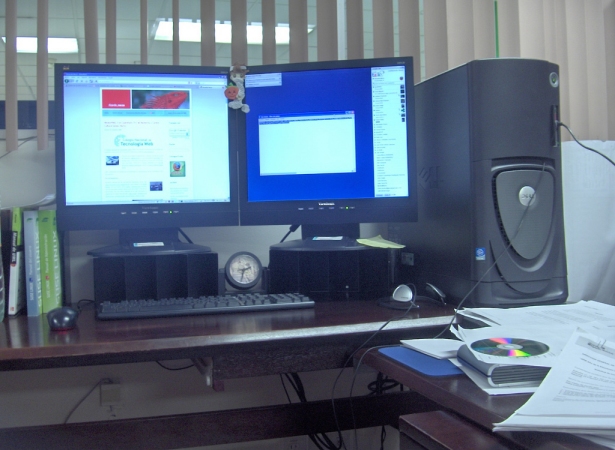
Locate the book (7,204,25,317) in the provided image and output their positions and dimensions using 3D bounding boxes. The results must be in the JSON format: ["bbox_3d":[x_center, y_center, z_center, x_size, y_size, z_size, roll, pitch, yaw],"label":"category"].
[{"bbox_3d":[-0.780,0.099,1.565,0.038,0.224,0.115,-1,9,-20],"label":"book"}]

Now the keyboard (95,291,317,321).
[{"bbox_3d":[-0.359,0.196,1.713,0.517,0.048,0.342,-1,4,-21],"label":"keyboard"}]

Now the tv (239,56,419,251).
[{"bbox_3d":[0.067,-0.223,1.750,0.644,0.618,0.076,0,0,6],"label":"tv"}]

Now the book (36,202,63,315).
[{"bbox_3d":[-0.722,0.108,1.626,0.048,0.243,0.147,1,7,-17],"label":"book"}]

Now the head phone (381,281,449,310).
[{"bbox_3d":[0.303,0.203,1.672,0.145,0.074,0.134,-2,7,-18],"label":"head phone"}]

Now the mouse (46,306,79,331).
[{"bbox_3d":[-0.605,0.232,1.431,0.054,0.044,0.060,-6,-10,41],"label":"mouse"}]
